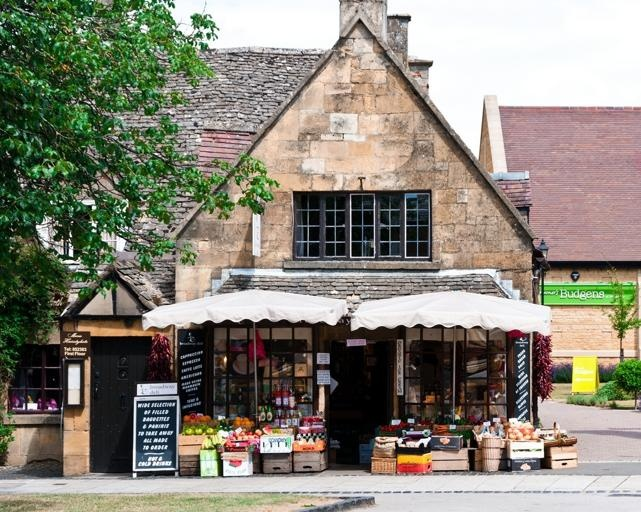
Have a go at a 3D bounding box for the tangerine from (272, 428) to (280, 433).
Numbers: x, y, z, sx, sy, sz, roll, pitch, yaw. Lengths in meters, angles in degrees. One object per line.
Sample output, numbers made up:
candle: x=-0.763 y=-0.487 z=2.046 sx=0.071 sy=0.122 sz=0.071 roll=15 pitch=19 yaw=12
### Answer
tangerine: x=-1.005 y=3.911 z=31.830 sx=0.093 sy=0.097 sz=0.095 roll=2 pitch=-6 yaw=-12

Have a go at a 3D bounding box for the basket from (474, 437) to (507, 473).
basket: x=3.666 y=4.352 z=31.334 sx=0.655 sy=0.744 sz=0.298 roll=-3 pitch=-10 yaw=5
